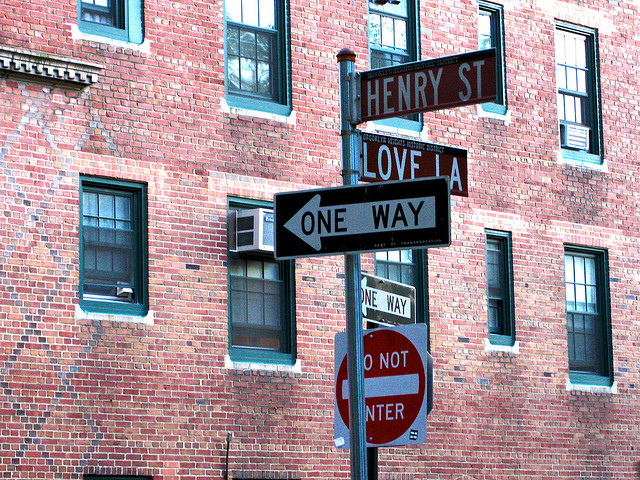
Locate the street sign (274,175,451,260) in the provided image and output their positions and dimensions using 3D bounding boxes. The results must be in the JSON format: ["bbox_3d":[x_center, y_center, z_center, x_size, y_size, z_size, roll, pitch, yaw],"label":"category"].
[{"bbox_3d":[0.497,-0.291,19.555,2.143,0.871,0.166,-2,-12,10],"label":"street sign"}]

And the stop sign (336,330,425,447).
[{"bbox_3d":[0.761,1.790,20.656,1.246,1.530,0.016,-6,-21,18],"label":"stop sign"}]

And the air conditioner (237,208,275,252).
[{"bbox_3d":[-1.039,-0.185,26.440,0.468,0.681,0.672,-1,-1,20],"label":"air conditioner"}]
